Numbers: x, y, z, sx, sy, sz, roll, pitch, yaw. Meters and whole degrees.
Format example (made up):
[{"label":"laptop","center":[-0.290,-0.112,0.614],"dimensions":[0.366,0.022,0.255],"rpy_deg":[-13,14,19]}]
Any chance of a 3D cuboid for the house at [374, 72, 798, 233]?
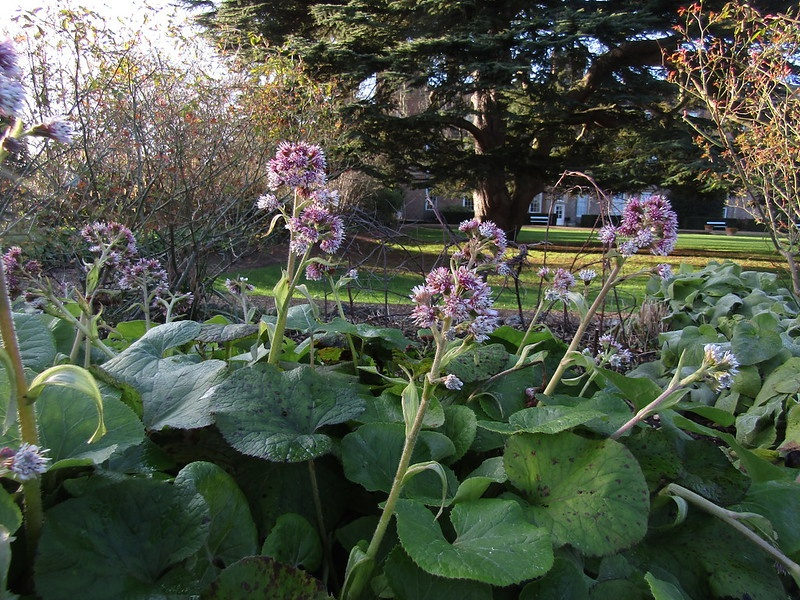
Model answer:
[{"label":"house","center":[4.691,-3.832,14.811],"dimensions":[7.265,2.791,8.443],"rpy_deg":[8,9,41]}]
